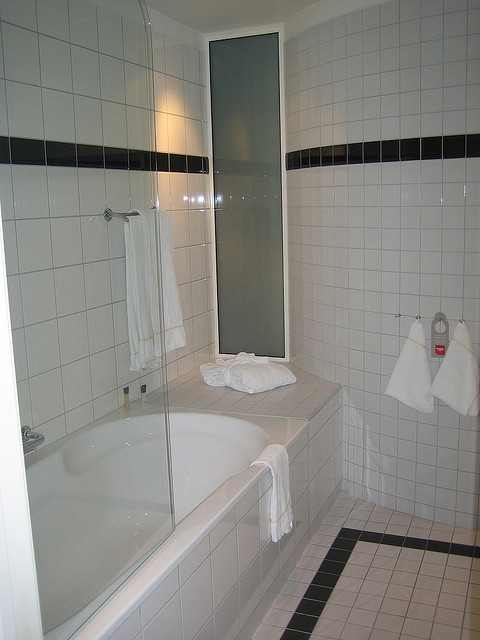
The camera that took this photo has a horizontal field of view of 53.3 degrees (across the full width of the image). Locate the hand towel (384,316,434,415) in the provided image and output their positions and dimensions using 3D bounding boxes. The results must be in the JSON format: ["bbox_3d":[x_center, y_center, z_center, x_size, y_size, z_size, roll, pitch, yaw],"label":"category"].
[{"bbox_3d":[0.909,0.232,2.555,0.248,0.503,0.047,3,7,33],"label":"hand towel"}]

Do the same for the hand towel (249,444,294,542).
[{"bbox_3d":[0.148,0.736,2.003,0.091,0.304,0.249,-10,-5,22],"label":"hand towel"}]
